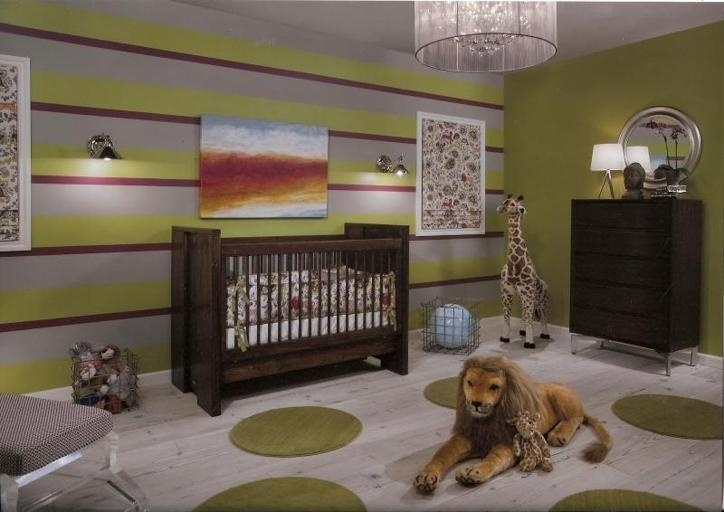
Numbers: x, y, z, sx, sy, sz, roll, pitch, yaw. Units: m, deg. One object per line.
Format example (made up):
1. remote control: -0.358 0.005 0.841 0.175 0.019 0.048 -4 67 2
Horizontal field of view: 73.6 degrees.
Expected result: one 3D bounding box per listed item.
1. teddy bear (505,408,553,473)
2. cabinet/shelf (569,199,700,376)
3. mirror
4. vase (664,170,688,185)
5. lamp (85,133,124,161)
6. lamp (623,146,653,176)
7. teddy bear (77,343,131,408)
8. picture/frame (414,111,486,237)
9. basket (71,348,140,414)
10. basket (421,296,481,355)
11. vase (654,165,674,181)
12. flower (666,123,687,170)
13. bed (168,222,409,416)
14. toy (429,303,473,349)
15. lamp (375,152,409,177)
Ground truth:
1. teddy bear: 0.974 1.024 2.712 0.269 0.327 0.189 -8 14 -38
2. cabinet/shelf: 2.269 0.230 4.097 1.056 1.422 0.428 7 13 33
3. mirror: 2.599 -0.928 4.197 0.043 0.848 0.886 5 -2 -24
4. vase: 2.613 -0.653 4.035 0.141 0.109 0.109 2 -1 18
5. lamp: -1.834 -0.782 3.444 0.207 0.188 0.232 -6 12 -28
6. lamp: 2.511 -0.864 4.451 0.264 0.269 0.254 -1 3 1
7. teddy bear: -1.792 0.848 3.373 0.400 0.429 0.296 -5 12 -23
8. picture/frame: 0.946 -0.854 5.143 0.983 1.271 0.153 -6 13 -30
9. basket: -1.784 0.808 3.531 0.559 0.501 0.423 3 -6 -36
10. basket: 0.852 0.679 4.768 0.532 0.509 0.542 3 3 43
11. vase: 2.574 -0.707 4.142 0.127 0.084 0.123 1 0 -4
12. flower: 2.649 -0.942 4.137 0.094 0.370 0.237 -1 11 -5
13. bed: -0.652 0.395 4.047 2.092 1.449 1.336 -2 3 -34
14. toy: 0.867 0.618 4.624 0.459 0.468 0.388 1 5 15
15. lamp: 0.340 -0.882 4.722 0.379 0.219 0.178 -9 14 -41
